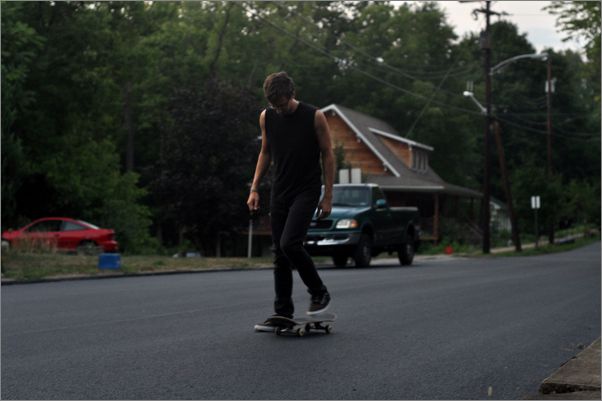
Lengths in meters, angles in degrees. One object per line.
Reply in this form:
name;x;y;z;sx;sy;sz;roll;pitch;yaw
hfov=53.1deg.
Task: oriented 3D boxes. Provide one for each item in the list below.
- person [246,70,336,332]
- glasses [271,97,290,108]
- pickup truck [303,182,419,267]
person;-0.105;-0.051;8.295;1.124;3.325;0.870;0;-4;-5
glasses;-0.251;-1.304;8.072;0.140;0.096;0.189;-7;1;27
pickup truck;2.234;0.905;20.312;2.116;1.923;4.086;-3;-7;26
